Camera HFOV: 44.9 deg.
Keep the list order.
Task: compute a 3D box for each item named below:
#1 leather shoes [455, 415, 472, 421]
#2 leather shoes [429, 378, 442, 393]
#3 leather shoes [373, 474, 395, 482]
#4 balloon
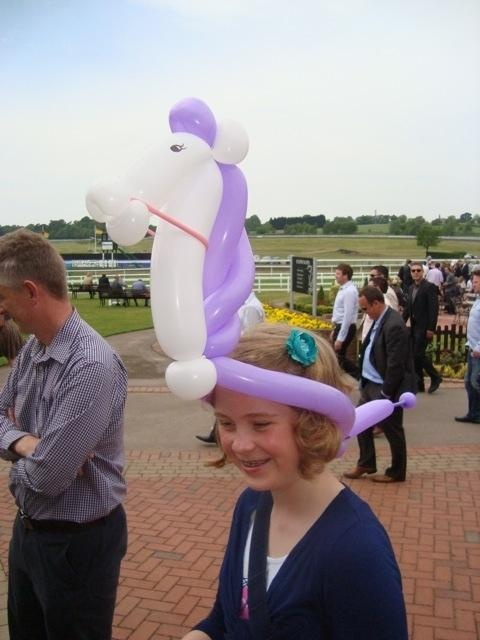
[{"bbox_3d":[3.185,1.380,8.243,0.203,0.083,0.072,4,3,19],"label":"leather shoes"},{"bbox_3d":[3.372,1.112,10.004,0.157,0.254,0.393,4,7,41],"label":"leather shoes"},{"bbox_3d":[1.504,1.636,6.056,0.206,0.077,0.069,5,1,18],"label":"leather shoes"},{"bbox_3d":[-0.023,-0.022,1.522,0.397,0.706,0.971,-10,-26,43],"label":"balloon"}]
